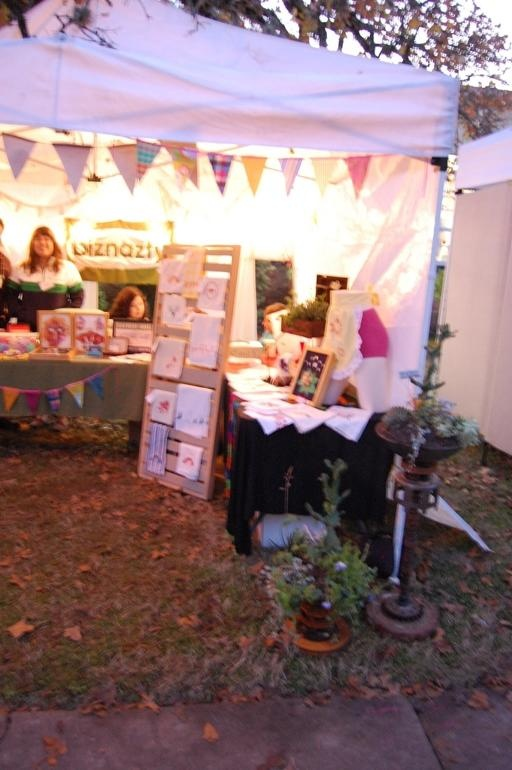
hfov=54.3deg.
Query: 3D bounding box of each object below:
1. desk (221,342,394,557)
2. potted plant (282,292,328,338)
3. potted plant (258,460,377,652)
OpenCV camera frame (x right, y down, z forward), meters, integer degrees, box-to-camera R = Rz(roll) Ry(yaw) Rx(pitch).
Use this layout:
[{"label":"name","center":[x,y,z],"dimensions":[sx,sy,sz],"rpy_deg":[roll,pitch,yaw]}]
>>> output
[{"label":"desk","center":[0.296,0.356,2.775],"dimensions":[0.834,0.696,0.836],"rpy_deg":[2,0,9]},{"label":"potted plant","center":[0.359,-0.478,3.561],"dimensions":[0.222,0.253,0.412],"rpy_deg":[-1,10,-19]},{"label":"potted plant","center":[0.279,0.674,2.346],"dimensions":[0.562,0.756,0.807],"rpy_deg":[5,10,15]}]
